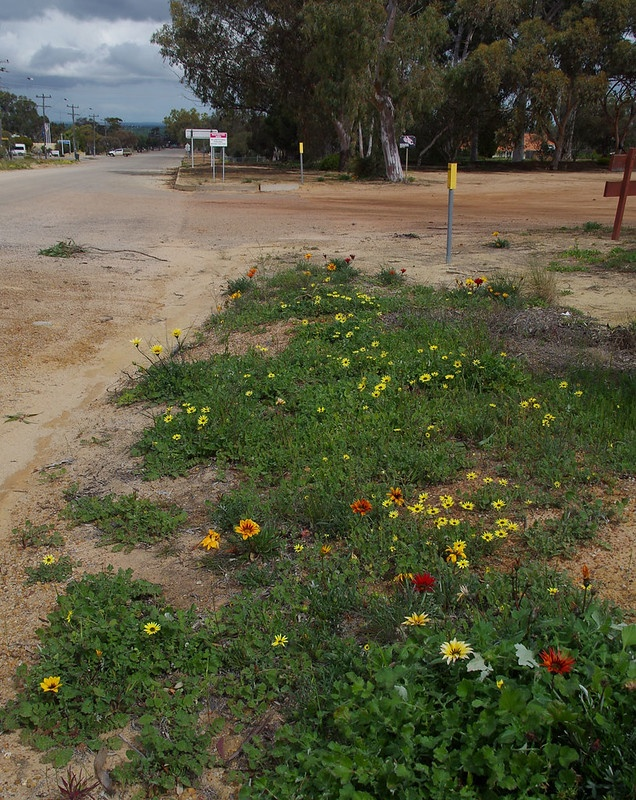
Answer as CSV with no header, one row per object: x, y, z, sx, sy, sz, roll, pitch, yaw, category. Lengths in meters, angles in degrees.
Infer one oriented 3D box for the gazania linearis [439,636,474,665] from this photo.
0.506,0.897,2.586,0.105,0.034,0.110,-4,25,21,gazania linearis

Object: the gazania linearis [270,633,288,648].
-0.177,1.103,3.275,0.074,0.074,0.029,-42,20,13,gazania linearis
